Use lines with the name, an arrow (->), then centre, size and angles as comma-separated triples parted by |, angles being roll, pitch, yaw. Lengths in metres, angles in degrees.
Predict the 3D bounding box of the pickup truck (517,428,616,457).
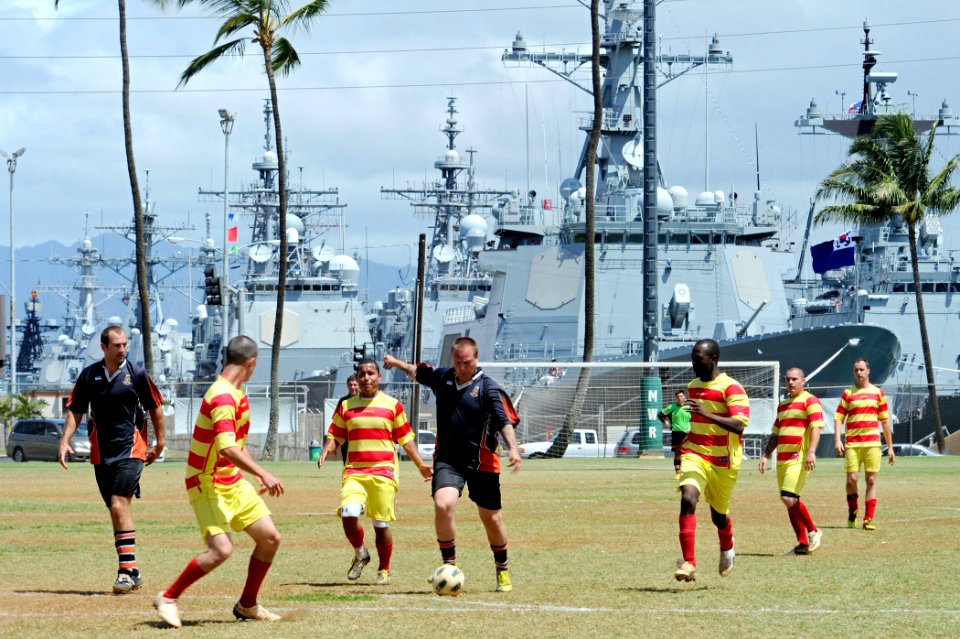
pickup truck -> 3.059, 4.246, 68.182 | 2.565, 1.037, 1.237 | -2, 1, -3

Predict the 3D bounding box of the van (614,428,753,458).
van -> 5.990, 4.123, 65.923 | 4.042, 1.058, 1.768 | 0, -1, -3

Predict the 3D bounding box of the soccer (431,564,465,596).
soccer -> -0.627, 5.160, 40.927 | 0.612, 0.580, 0.591 | 1, 28, -6

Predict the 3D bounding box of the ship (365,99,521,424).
ship -> 2.655, -2.822, 93.384 | 6.624, 12.844, 14.700 | 0, -2, -4

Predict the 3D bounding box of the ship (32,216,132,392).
ship -> -18.779, 0.124, 94.812 | 5.241, 9.164, 4.259 | 4, -1, 8
